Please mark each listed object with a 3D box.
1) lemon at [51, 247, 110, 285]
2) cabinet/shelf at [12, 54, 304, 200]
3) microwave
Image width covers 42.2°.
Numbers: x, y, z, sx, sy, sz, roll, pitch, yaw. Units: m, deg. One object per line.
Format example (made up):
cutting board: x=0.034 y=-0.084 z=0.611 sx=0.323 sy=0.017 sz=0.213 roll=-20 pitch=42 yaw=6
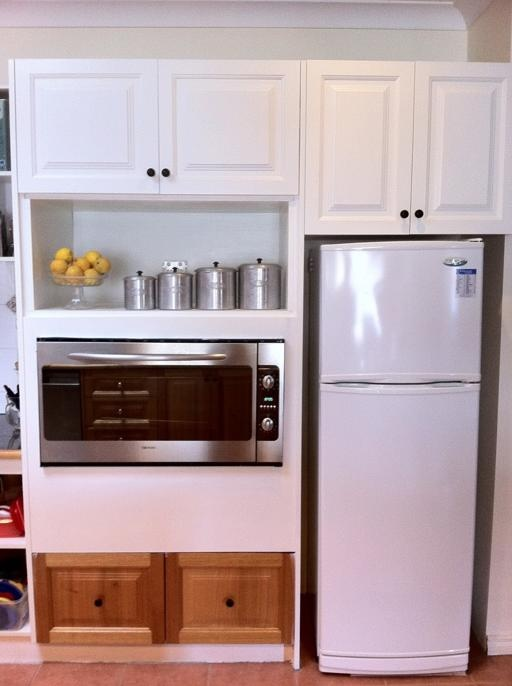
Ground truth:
lemon: x=-0.623 y=-0.274 z=2.355 sx=0.201 sy=0.132 sz=0.151 roll=-3 pitch=7 yaw=-6
cabinet/shelf: x=-0.311 y=-0.711 z=2.266 sx=0.942 sy=0.426 sz=0.290 roll=1 pitch=10 yaw=4
microwave: x=-0.315 y=0.212 z=2.415 sx=0.751 sy=0.378 sz=0.460 roll=0 pitch=1 yaw=-1
